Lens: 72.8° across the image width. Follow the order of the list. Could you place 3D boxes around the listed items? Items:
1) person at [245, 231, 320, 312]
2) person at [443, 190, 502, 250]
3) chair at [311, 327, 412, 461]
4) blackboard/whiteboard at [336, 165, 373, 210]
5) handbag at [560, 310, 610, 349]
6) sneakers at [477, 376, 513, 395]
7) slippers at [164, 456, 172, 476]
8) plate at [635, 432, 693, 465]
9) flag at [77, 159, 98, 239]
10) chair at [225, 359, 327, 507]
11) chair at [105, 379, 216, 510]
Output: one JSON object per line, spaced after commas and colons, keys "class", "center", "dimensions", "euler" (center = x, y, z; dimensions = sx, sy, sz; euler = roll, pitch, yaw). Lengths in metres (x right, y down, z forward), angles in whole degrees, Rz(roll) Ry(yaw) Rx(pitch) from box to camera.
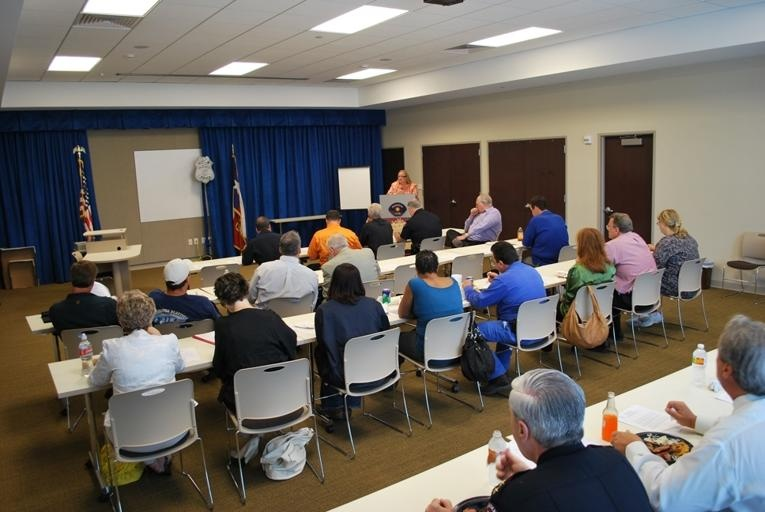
{"class": "person", "center": [-1.106, 0.173, 6.104], "dimensions": [0.870, 1.209, 0.740], "euler": [6, 17, -10]}
{"class": "person", "center": [1.564, -0.670, 9.598], "dimensions": [0.997, 1.168, 0.952], "euler": [1, 11, -2]}
{"class": "chair", "center": [-0.219, 1.363, 5.035], "dimensions": [0.775, 1.320, 0.770], "euler": [-12, 23, -35]}
{"class": "blackboard/whiteboard", "center": [-0.741, -1.784, 13.825], "dimensions": [0.862, 1.145, 0.521], "euler": [-5, 9, -7]}
{"class": "handbag", "center": [2.297, 0.818, 5.883], "dimensions": [0.358, 0.515, 0.271], "euler": [-11, -21, 8]}
{"class": "sneakers", "center": [1.248, 1.419, 5.638], "dimensions": [0.344, 0.146, 0.268], "euler": [-5, 0, -26]}
{"class": "slippers", "center": [-1.957, 1.927, 4.751], "dimensions": [0.089, 0.153, 0.044], "euler": [3, -10, -31]}
{"class": "plate", "center": [1.773, 1.207, 3.249], "dimensions": [0.202, 0.039, 0.209], "euler": [0, 11, 10]}
{"class": "flag", "center": [-6.297, -1.271, 10.975], "dimensions": [0.214, 1.470, 0.312], "euler": [-6, 9, -15]}
{"class": "chair", "center": [-0.956, 1.430, 4.571], "dimensions": [0.862, 1.200, 0.710], "euler": [-7, 9, -20]}
{"class": "chair", "center": [-1.870, 1.556, 4.312], "dimensions": [0.794, 1.163, 0.582], "euler": [-9, 10, -29]}
